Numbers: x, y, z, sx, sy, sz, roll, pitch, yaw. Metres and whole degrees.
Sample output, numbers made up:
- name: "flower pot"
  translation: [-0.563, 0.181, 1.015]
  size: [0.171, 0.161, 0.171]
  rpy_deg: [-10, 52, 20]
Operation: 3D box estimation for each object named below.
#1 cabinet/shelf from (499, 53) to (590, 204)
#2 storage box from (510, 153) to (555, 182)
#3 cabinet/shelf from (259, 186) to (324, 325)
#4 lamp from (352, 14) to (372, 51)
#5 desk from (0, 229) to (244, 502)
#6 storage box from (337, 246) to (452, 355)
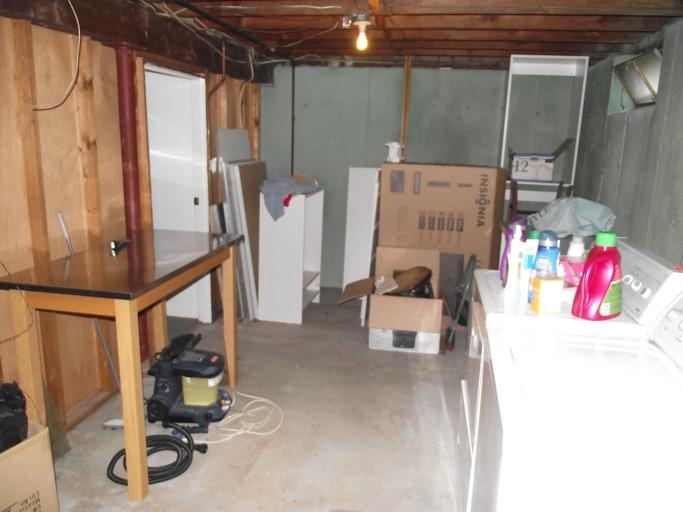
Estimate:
- name: "cabinet/shelf"
  translation: [1.965, -1.202, 5.662]
  size: [0.811, 1.479, 1.555]
  rpy_deg: [6, 15, 21]
- name: "storage box"
  translation: [1.744, -0.809, 5.185]
  size: [0.435, 0.290, 0.237]
  rpy_deg: [2, 7, 13]
- name: "cabinet/shelf"
  translation: [-0.493, -0.013, 5.354]
  size: [0.457, 1.392, 1.237]
  rpy_deg: [2, 6, 9]
- name: "lamp"
  translation: [0.149, -1.593, 4.050]
  size: [0.149, 0.239, 0.140]
  rpy_deg: [2, 11, 16]
- name: "desk"
  translation: [-1.308, 0.568, 3.661]
  size: [0.889, 1.231, 1.420]
  rpy_deg: [4, 14, 14]
- name: "storage box"
  translation: [0.495, 0.378, 4.965]
  size: [0.816, 0.784, 0.620]
  rpy_deg: [2, 14, 6]
